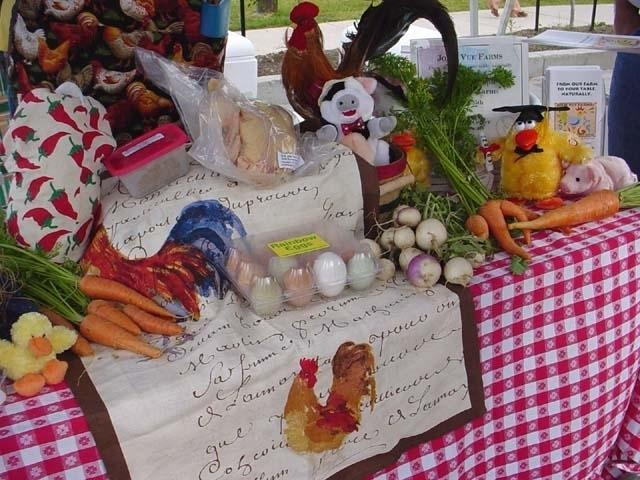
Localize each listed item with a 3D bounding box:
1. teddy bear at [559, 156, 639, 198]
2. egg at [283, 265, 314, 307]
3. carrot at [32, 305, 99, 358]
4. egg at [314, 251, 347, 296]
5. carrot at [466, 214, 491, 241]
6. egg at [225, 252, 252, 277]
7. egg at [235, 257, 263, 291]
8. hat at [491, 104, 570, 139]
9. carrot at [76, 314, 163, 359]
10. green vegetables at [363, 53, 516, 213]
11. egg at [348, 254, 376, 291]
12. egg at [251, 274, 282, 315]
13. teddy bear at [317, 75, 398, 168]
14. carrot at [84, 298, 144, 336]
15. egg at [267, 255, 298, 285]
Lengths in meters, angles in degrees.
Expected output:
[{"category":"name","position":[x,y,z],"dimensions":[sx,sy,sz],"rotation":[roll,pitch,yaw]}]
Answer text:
[{"category":"teddy bear","position":[1.229,-0.326,2.474],"dimensions":[0.272,0.188,0.311],"rotation":[-11,26,-22]},{"category":"egg","position":[-0.071,0.150,1.792],"dimensions":[0.107,0.138,0.113],"rotation":[0,14,3]},{"category":"carrot","position":[-0.820,0.298,1.726],"dimensions":[0.185,0.045,0.038],"rotation":[42,71,14]},{"category":"egg","position":[0.028,0.127,1.886],"dimensions":[0.140,0.185,0.146],"rotation":[3,6,2]},{"category":"carrot","position":[0.629,-0.057,2.163],"dimensions":[0.062,0.067,0.110],"rotation":[-6,33,-13]},{"category":"egg","position":[-0.282,0.082,1.837],"dimensions":[0.073,0.079,0.080],"rotation":[0,-12,-3]},{"category":"egg","position":[-0.238,0.115,1.799],"dimensions":[0.085,0.088,0.089],"rotation":[0,4,-5]},{"category":"hat","position":[0.940,-0.546,2.370],"dimensions":[0.238,0.114,0.228],"rotation":[-8,23,-7]},{"category":"carrot","position":[-0.656,0.317,1.745],"dimensions":[0.301,0.103,0.049],"rotation":[6,24,24]},{"category":"green vegetables","position":[0.539,-0.504,2.352],"dimensions":[0.617,0.686,0.260],"rotation":[3,-4,-23]},{"category":"egg","position":[0.145,0.107,1.933],"dimensions":[0.103,0.130,0.109],"rotation":[-5,27,-8]},{"category":"egg","position":[-0.177,0.180,1.828],"dimensions":[0.103,0.122,0.115],"rotation":[-1,19,-5]},{"category":"teddy bear","position":[0.143,-0.515,2.218],"dimensions":[0.300,0.404,0.323],"rotation":[-9,29,-20]},{"category":"carrot","position":[-0.698,0.250,1.795],"dimensions":[0.233,0.072,0.085],"rotation":[26,12,14]},{"category":"egg","position":[-0.132,0.091,1.857],"dimensions":[0.084,0.093,0.089],"rotation":[3,22,3]}]
